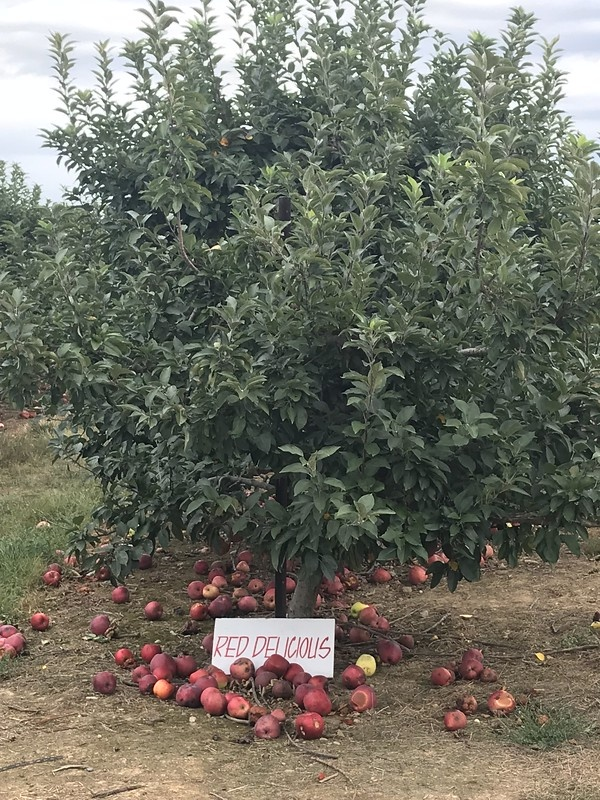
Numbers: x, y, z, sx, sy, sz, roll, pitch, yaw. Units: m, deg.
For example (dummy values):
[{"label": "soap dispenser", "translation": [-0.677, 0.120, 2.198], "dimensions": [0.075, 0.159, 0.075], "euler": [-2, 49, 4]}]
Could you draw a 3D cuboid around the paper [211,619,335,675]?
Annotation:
[{"label": "paper", "translation": [-0.148, 1.344, 3.997], "dimensions": [0.663, 0.317, 0.176], "euler": [2, 2, 16]}]
